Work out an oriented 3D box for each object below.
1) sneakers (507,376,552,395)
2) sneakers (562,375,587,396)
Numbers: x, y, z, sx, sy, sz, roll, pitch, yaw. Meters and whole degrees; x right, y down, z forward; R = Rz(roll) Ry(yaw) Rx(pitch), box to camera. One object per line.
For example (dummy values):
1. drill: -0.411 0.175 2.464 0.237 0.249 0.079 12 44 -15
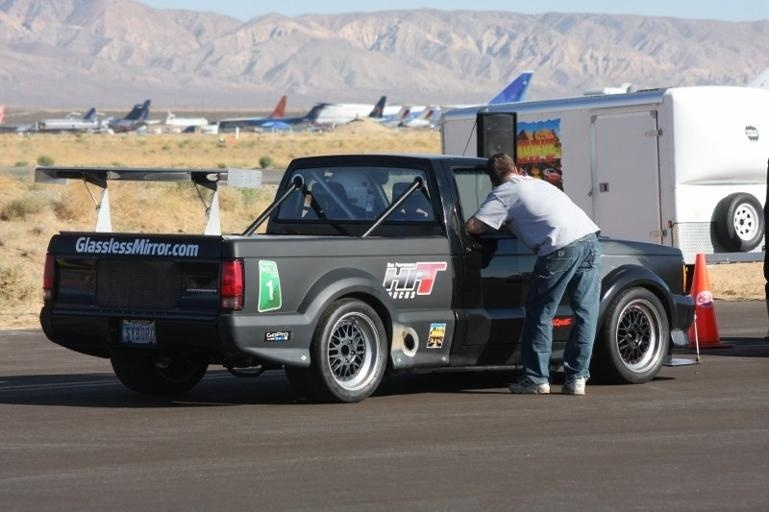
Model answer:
1. sneakers: 1.566 1.377 10.910 0.455 0.238 0.172 4 7 14
2. sneakers: 2.034 1.383 10.833 0.126 0.157 0.357 1 5 1
